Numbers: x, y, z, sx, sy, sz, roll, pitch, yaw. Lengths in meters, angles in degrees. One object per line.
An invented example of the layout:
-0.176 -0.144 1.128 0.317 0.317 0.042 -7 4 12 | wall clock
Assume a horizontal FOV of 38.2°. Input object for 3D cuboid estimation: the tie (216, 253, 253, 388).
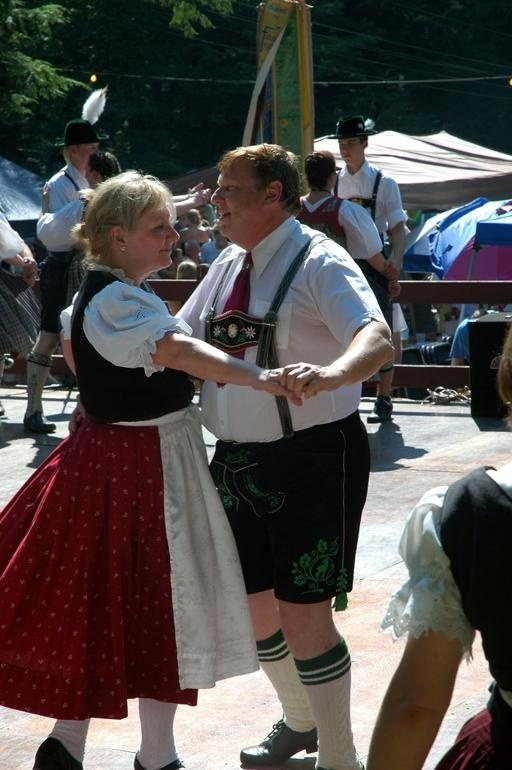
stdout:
-0.070 -0.186 2.082 0.108 0.370 0.196 2 12 -2 | tie
